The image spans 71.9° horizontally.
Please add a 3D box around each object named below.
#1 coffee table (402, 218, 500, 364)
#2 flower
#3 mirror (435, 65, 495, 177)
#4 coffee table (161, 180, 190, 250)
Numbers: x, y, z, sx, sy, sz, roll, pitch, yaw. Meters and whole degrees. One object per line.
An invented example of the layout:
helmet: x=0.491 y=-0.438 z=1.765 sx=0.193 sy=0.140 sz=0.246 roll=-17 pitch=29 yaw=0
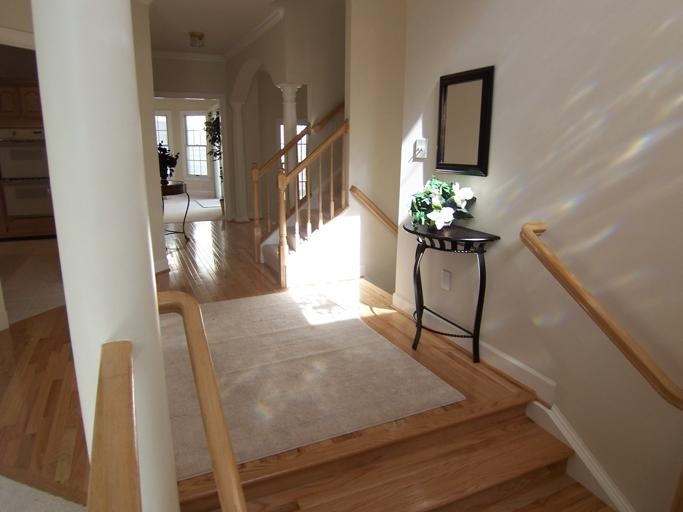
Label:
coffee table: x=0.705 y=0.248 z=3.562 sx=0.356 sy=1.000 sz=0.855 roll=-13 pitch=23 yaw=-27
flower: x=0.726 y=-0.386 z=3.362 sx=0.364 sy=0.280 sz=0.380 roll=-12 pitch=14 yaw=-31
mirror: x=0.864 y=-0.943 z=3.368 sx=0.064 sy=0.699 sz=0.487 roll=-8 pitch=15 yaw=-31
coffee table: x=-2.524 y=-0.626 z=7.091 sx=0.557 sy=0.786 sz=0.590 roll=0 pitch=0 yaw=-27
